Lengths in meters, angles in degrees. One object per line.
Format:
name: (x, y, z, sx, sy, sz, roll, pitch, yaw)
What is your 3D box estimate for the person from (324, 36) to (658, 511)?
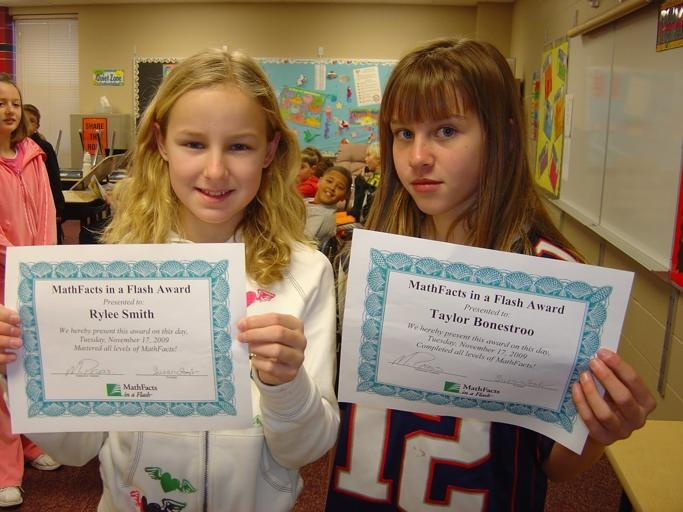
person: (0.287, 0.075, 1.184, 0.658, 1.087, 0.502, 0, 18, 1)

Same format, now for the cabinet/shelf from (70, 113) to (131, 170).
cabinet/shelf: (-3.681, -1.482, 7.859, 0.745, 0.928, 1.015, -2, -18, -23)
